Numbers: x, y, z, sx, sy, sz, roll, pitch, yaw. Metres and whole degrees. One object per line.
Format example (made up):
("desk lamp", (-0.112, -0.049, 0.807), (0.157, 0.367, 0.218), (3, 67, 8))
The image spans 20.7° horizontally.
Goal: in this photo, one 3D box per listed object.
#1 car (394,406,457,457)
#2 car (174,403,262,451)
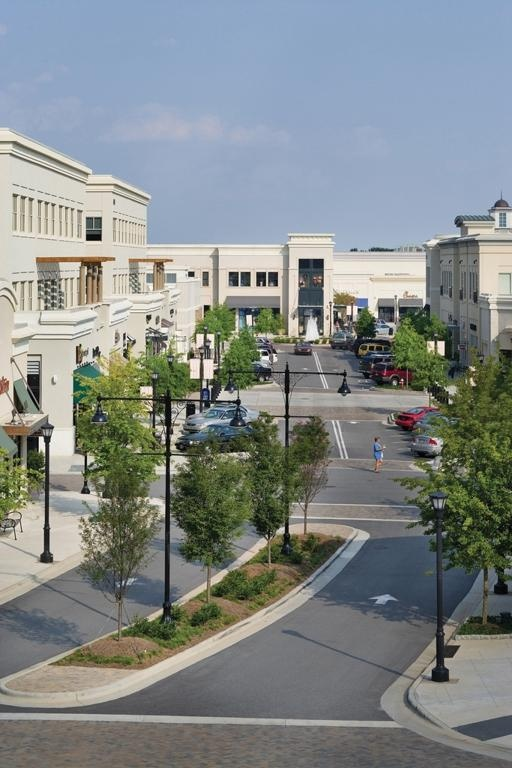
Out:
("car", (5.977, 1.692, 48.796), (1.291, 1.098, 3.171), (3, 9, 31))
("car", (-1.709, 1.478, 48.992), (1.354, 1.144, 3.282), (-2, -2, 34))
